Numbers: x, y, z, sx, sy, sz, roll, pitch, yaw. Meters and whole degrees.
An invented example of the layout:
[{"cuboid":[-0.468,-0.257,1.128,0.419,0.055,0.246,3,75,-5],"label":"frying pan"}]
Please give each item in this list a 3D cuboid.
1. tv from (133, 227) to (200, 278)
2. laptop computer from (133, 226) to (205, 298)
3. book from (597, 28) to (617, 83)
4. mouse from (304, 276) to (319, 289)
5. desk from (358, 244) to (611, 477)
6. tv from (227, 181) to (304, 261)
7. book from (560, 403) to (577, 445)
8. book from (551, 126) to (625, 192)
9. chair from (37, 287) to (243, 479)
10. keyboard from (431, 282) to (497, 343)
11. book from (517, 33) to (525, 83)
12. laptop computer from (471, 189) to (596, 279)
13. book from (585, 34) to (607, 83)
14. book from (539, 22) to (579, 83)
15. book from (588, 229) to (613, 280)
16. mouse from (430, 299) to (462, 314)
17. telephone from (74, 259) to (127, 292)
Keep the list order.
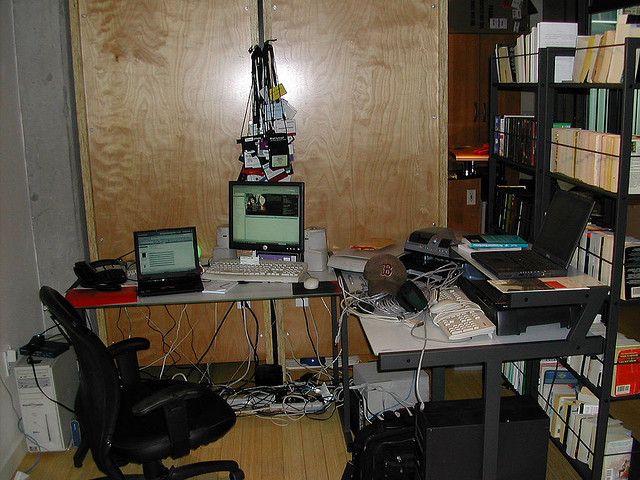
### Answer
[{"cuboid":[-0.880,0.087,3.273,0.260,0.329,0.456,-3,2,43],"label":"tv"},{"cuboid":[-0.924,0.176,3.497,0.478,0.504,0.396,-5,-26,-7],"label":"laptop computer"},{"cuboid":[1.469,-0.950,2.743,0.081,0.308,0.310,0,6,28],"label":"book"},{"cuboid":[-0.051,0.261,3.240,0.081,0.059,0.113,-3,5,-1],"label":"mouse"},{"cuboid":[0.836,0.524,3.111,0.926,1.219,1.233,0,11,-6],"label":"desk"},{"cuboid":[-0.338,-0.136,3.515,0.456,0.516,0.163,1,3,7],"label":"tv"},{"cuboid":[1.443,1.047,3.056,0.042,0.188,0.193,5,-5,16],"label":"book"},{"cuboid":[1.507,-0.473,2.920,0.193,0.281,0.601,-8,18,-7],"label":"book"},{"cuboid":[-0.939,0.803,2.846,0.862,1.245,0.816,-5,6,-27],"label":"chair"},{"cuboid":[0.727,0.381,2.768,0.279,0.185,0.402,-3,5,1],"label":"keyboard"},{"cuboid":[1.309,-1.159,3.494,0.051,0.245,0.233,2,8,15],"label":"book"},{"cuboid":[1.108,0.004,2.835,0.465,0.382,0.484,0,12,-4],"label":"laptop computer"},{"cuboid":[1.460,-0.965,2.831,0.051,0.229,0.224,10,17,26],"label":"book"},{"cuboid":[1.450,-1.148,3.263,0.213,0.413,0.041,5,-15,11],"label":"book"},{"cuboid":[1.507,0.090,2.861,0.111,0.220,0.219,4,11,12],"label":"book"},{"cuboid":[0.643,0.326,2.759,0.113,0.034,0.076,-10,12,-10],"label":"mouse"},{"cuboid":[-1.369,0.240,3.339,0.276,0.211,0.117,-3,-36,-26],"label":"telephone"}]
